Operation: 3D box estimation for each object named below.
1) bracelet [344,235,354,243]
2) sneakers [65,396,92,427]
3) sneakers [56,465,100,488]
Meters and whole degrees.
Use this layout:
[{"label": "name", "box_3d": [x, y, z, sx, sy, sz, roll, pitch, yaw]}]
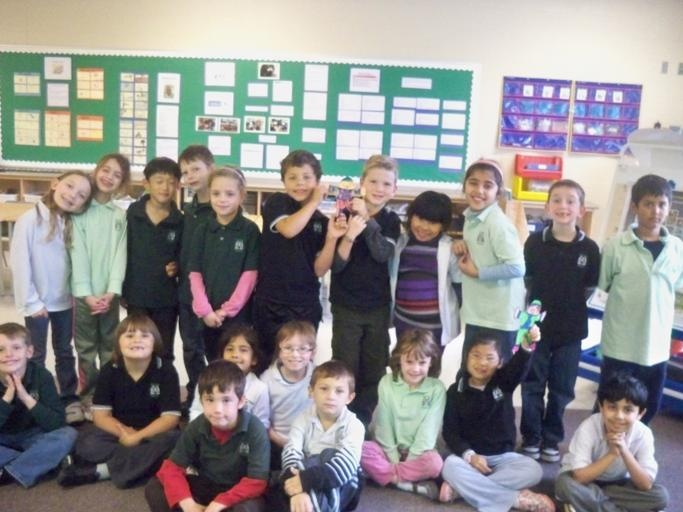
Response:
[{"label": "bracelet", "box_3d": [0.034, -0.085, 3.057, 0.033, 0.016, 0.045, 13, -7, 10]}, {"label": "sneakers", "box_3d": [-1.349, 0.804, 3.209, 0.100, 0.056, 0.157, 2, 10, -5]}, {"label": "sneakers", "box_3d": [-1.165, 0.975, 2.798, 0.074, 0.067, 0.194, -1, 6, 36]}]
